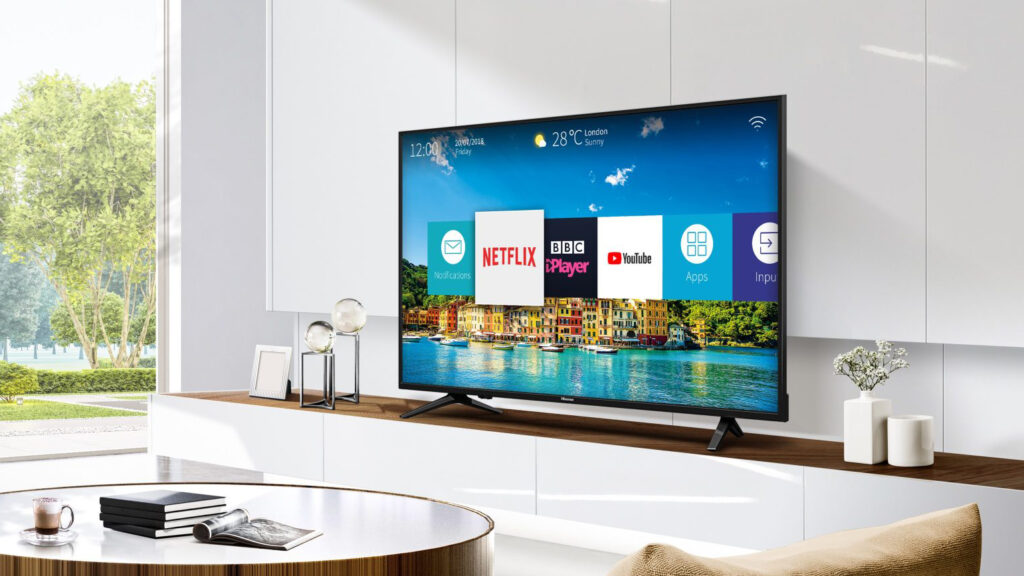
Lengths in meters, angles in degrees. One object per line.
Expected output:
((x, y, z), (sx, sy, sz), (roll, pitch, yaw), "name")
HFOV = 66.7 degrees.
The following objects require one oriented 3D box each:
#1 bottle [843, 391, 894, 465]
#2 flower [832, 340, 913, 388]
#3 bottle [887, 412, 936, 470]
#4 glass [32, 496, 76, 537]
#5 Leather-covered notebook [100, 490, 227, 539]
((1.825, 0.704, 3.954), (0.240, 0.343, 0.158), (-1, 11, 9), "bottle")
((1.925, 0.397, 4.129), (0.342, 0.212, 0.333), (0, -4, 20), "flower")
((2.015, 0.764, 3.913), (0.212, 0.231, 0.178), (2, 12, 24), "bottle")
((-2.013, 1.010, 3.408), (0.119, 0.148, 0.183), (-14, -17, 30), "glass")
((-1.537, 0.994, 3.474), (0.289, 0.069, 0.289), (2, -2, 38), "Leather-covered notebook")
